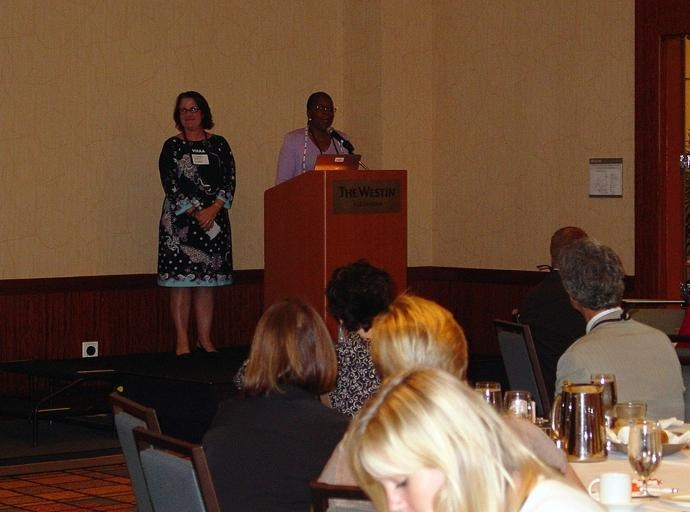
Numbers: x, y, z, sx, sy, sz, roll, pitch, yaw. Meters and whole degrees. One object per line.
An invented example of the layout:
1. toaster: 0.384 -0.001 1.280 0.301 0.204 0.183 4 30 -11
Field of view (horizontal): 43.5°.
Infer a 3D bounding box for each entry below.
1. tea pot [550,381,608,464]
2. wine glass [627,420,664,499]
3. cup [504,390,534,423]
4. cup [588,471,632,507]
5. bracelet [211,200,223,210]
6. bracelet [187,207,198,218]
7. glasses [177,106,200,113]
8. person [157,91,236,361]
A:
1. tea pot: 0.755 0.535 2.782 0.140 0.276 0.220 0 -2 -39
2. wine glass: 0.875 0.588 2.551 0.096 0.210 0.125 -3 -3 0
3. cup: 0.581 0.501 2.888 0.100 0.123 0.069 1 -7 -24
4. cup: 0.721 0.625 2.366 0.122 0.105 0.084 -4 0 -22
5. bracelet: -0.909 -0.365 6.225 0.054 0.050 0.058 -1 -4 32
6. bracelet: -1.080 -0.310 6.169 0.057 0.054 0.058 -2 -6 38
7. glasses: -1.101 -1.036 6.135 0.137 0.043 0.033 -4 -3 -7
8. person: -1.075 -0.222 6.288 0.568 1.857 0.427 -2 -3 -16
